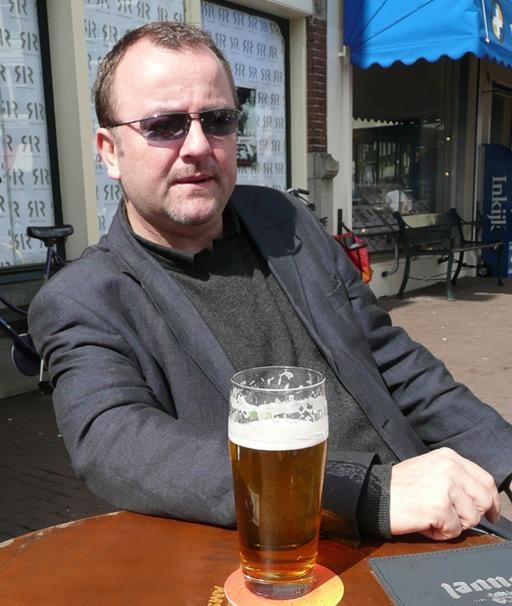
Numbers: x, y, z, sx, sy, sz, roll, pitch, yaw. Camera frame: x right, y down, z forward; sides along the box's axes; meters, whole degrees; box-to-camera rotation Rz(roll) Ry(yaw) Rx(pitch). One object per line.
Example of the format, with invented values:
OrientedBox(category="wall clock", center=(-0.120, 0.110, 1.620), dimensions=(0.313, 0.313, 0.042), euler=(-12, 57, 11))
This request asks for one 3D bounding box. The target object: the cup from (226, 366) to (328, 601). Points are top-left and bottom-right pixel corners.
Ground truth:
OrientedBox(category="cup", center=(0.033, 0.257, 0.757), dimensions=(0.136, 0.317, 0.183), euler=(-2, 3, -1))
